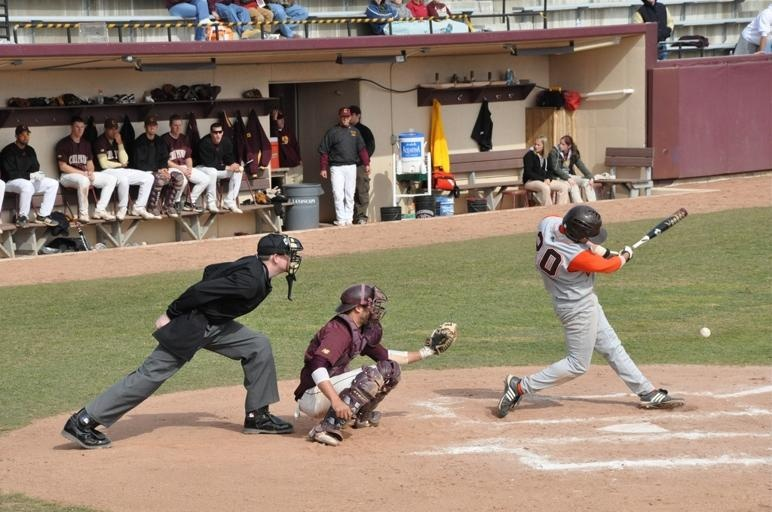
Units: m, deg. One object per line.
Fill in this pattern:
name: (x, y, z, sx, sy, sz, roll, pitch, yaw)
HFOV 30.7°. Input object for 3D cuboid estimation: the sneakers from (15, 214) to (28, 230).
sneakers: (-5.973, -0.563, 23.114, 0.220, 0.199, 0.183, -4, 6, -13)

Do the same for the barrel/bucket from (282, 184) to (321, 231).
barrel/bucket: (-1.522, -0.899, 25.690, 0.966, 0.782, 0.838, 0, 0, -4)

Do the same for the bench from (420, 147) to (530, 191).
bench: (2.039, -1.595, 28.658, 0.781, 0.863, 3.005, 23, -12, -30)

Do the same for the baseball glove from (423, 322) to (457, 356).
baseball glove: (0.758, 1.024, 17.328, 0.469, 0.326, 0.202, -32, -23, 7)

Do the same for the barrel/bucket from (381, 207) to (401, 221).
barrel/bucket: (0.101, -0.778, 26.319, 0.332, 0.195, 0.296, -1, -1, 3)

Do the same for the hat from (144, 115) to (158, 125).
hat: (-4.073, -2.328, 24.336, 0.195, 0.111, 0.239, -2, -5, -20)

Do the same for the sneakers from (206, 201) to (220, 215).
sneakers: (-3.048, -0.849, 24.964, 0.233, 0.115, 0.152, 19, 14, 22)

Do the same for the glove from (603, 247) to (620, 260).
glove: (2.811, -0.021, 17.480, 0.167, 0.074, 0.225, 15, 16, 40)

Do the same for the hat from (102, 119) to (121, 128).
hat: (-4.698, -2.245, 24.036, 0.231, 0.102, 0.169, -9, -1, 41)

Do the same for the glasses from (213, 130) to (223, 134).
glasses: (-2.957, -2.201, 25.017, 0.105, 0.066, 0.219, 0, 6, 24)

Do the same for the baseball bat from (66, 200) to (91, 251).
baseball bat: (-5.215, -0.520, 23.777, 0.214, 0.922, 0.136, -23, -19, -10)

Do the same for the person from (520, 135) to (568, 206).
person: (3.013, -1.632, 27.138, 0.969, 1.296, 0.738, 1, 7, 29)

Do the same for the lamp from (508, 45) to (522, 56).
lamp: (2.525, -4.022, 27.707, 0.178, 0.158, 0.286, -2, 5, 5)

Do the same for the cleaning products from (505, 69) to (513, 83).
cleaning products: (2.478, -3.592, 28.252, 0.140, 0.291, 0.227, -2, 6, 3)

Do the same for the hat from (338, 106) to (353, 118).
hat: (-0.718, -2.637, 25.880, 0.230, 0.152, 0.314, 0, -6, -8)

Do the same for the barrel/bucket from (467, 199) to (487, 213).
barrel/bucket: (1.755, -0.962, 27.131, 0.341, 0.270, 0.315, -1, 1, 0)

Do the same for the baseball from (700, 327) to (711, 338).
baseball: (4.433, 1.068, 19.558, 0.159, 0.124, 0.137, 2, 5, 2)

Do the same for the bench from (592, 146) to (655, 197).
bench: (4.628, -1.604, 27.751, 0.816, 0.832, 1.054, -24, 21, -34)

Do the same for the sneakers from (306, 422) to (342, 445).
sneakers: (-0.661, 2.149, 17.014, 0.561, 0.201, 0.167, 12, 12, -6)

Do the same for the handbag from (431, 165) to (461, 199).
handbag: (1.141, -1.409, 27.039, 0.478, 0.593, 0.471, -2, 6, 4)

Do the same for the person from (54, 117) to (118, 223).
person: (-5.089, -1.460, 23.890, 0.980, 1.757, 0.546, -4, 6, -12)

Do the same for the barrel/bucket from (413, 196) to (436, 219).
barrel/bucket: (0.691, -0.909, 26.494, 0.498, 0.430, 0.467, -1, 0, 0)

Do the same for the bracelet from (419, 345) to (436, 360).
bracelet: (0.511, 1.176, 17.372, 0.292, 0.147, 0.206, 2, -5, -13)

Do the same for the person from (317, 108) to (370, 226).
person: (-0.773, -1.643, 25.869, 0.654, 2.138, 1.000, 1, 7, 29)

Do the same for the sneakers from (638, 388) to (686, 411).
sneakers: (3.400, 1.795, 17.518, 0.646, 0.259, 0.218, -1, 6, -3)

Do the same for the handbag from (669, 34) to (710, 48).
handbag: (6.482, -4.487, 29.630, 0.512, 0.210, 0.651, 3, 4, 24)

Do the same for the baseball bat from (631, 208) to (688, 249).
baseball bat: (4.529, -0.424, 23.309, 1.271, 0.184, 0.181, -33, -4, -27)

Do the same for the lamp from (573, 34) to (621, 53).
lamp: (4.204, -4.209, 28.105, 1.005, 0.256, 0.944, -1, 5, 8)

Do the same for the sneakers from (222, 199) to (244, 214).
sneakers: (-2.785, -0.872, 25.210, 0.461, 0.179, 0.139, 23, 36, -18)

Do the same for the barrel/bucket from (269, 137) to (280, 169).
barrel/bucket: (-2.096, -1.929, 26.528, 0.141, 0.600, 0.348, 0, 7, 28)

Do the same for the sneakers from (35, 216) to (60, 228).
sneakers: (-5.595, -0.570, 23.317, 0.380, 0.128, 0.142, 3, 17, -6)

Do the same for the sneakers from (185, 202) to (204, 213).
sneakers: (-3.386, -0.854, 24.832, 0.432, 0.209, 0.136, 2, 19, -13)

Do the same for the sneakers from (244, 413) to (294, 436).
sneakers: (-1.435, 2.049, 17.148, 0.656, 0.240, 0.243, 0, 3, -7)

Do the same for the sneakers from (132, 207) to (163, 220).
sneakers: (-4.111, -0.718, 24.354, 0.504, 0.173, 0.171, 6, 10, -25)

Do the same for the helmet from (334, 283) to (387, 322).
helmet: (-0.301, 0.538, 17.015, 0.633, 0.308, 0.386, -4, 7, -11)
